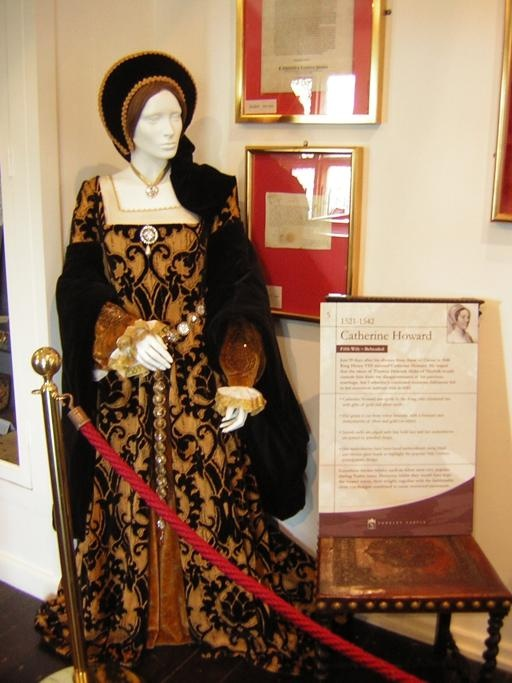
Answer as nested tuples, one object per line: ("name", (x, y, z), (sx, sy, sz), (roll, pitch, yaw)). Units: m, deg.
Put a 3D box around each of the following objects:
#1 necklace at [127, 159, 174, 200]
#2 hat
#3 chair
("necklace", (-0.263, -0.397, 1.546), (0.100, 0.094, 0.038), (-3, -6, -8))
("hat", (-0.252, -0.550, 1.456), (0.223, 0.220, 0.132), (-1, 14, -8))
("chair", (0.318, 0.309, 1.325), (0.392, 0.770, 0.325), (2, 14, 4))
